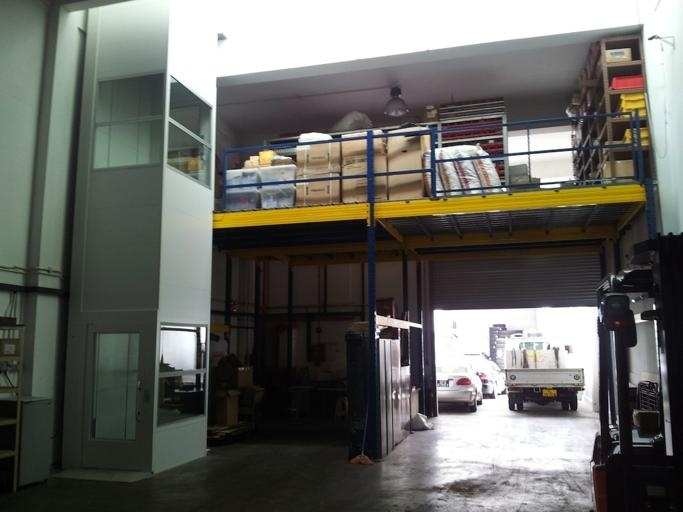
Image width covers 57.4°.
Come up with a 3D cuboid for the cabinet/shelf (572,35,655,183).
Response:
[{"bbox_3d":[5.483,-2.990,12.754,1.224,3.372,2.156,1,-3,13],"label":"cabinet/shelf"}]

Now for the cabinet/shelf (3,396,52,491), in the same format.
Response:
[{"bbox_3d":[-4.670,2.790,9.361,0.472,1.274,0.706,2,-1,-2],"label":"cabinet/shelf"}]

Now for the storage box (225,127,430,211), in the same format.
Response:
[{"bbox_3d":[-0.229,-1.685,12.057,3.831,1.609,0.825,-1,-5,14],"label":"storage box"}]

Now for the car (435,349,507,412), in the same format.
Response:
[{"bbox_3d":[3.624,3.743,18.553,1.366,1.173,3.543,-3,-6,20],"label":"car"}]

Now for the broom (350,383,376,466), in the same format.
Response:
[{"bbox_3d":[0.339,2.918,10.637,0.359,1.133,0.426,0,-4,1],"label":"broom"}]

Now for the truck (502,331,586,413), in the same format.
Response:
[{"bbox_3d":[5.873,3.476,18.273,2.050,2.013,3.465,-1,-5,17],"label":"truck"}]

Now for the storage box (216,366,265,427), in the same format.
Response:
[{"bbox_3d":[-2.173,2.976,13.082,0.502,1.316,1.408,-2,-5,21],"label":"storage box"}]
